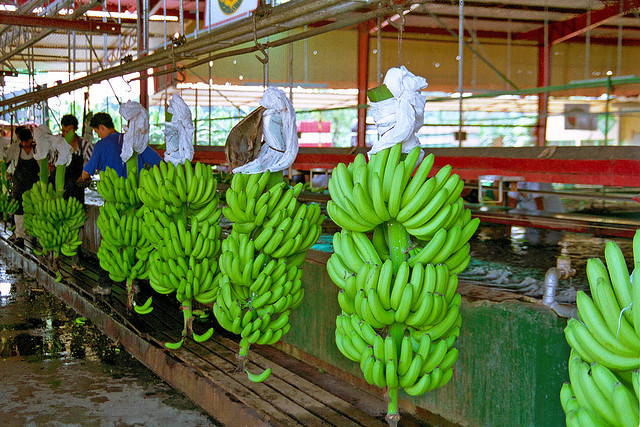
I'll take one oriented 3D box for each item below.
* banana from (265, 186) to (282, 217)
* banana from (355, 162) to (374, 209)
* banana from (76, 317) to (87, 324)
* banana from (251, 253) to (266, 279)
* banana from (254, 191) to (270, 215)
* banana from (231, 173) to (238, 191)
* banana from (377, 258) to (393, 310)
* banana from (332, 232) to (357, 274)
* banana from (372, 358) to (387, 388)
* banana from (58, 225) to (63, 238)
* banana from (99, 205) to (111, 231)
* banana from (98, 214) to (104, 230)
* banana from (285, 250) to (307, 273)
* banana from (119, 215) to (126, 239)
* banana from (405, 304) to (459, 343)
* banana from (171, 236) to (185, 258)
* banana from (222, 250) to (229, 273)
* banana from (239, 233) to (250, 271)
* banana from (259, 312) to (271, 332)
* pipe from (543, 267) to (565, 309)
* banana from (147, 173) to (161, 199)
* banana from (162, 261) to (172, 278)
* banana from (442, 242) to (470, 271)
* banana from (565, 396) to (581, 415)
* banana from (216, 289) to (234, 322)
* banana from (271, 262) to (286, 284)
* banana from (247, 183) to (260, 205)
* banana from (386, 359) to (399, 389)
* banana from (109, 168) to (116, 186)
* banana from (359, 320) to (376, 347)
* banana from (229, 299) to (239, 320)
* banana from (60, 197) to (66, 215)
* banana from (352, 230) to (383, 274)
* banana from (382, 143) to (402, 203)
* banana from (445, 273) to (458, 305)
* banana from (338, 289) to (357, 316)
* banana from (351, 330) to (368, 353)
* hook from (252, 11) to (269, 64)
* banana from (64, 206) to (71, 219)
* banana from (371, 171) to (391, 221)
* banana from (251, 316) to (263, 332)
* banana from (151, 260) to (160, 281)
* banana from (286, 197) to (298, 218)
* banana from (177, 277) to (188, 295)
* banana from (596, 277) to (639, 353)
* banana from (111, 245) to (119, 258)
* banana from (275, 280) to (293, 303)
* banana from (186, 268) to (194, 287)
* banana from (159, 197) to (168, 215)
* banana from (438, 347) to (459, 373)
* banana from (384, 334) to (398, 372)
[{"bbox_3d":[-0.400,-0.112,5.036,0.076,0.324,0.106,24,-6,-11],"label":"banana"},{"bbox_3d":[0.313,-0.245,4.348,0.134,0.414,0.084,-4,-6,-23],"label":"banana"},{"bbox_3d":[-3.017,1.358,7.335,0.111,0.049,0.122,-3,9,-23],"label":"banana"},{"bbox_3d":[-0.541,0.451,5.080,0.083,0.257,0.069,18,13,-36],"label":"banana"},{"bbox_3d":[-0.505,-0.093,5.004,0.071,0.268,0.087,29,2,5],"label":"banana"},{"bbox_3d":[-0.765,-0.267,5.095,0.051,0.157,0.036,8,15,-34],"label":"banana"},{"bbox_3d":[0.452,0.500,4.228,0.083,0.380,0.122,7,3,35],"label":"banana"},{"bbox_3d":[0.170,0.307,4.440,0.123,0.389,0.087,-15,8,19],"label":"banana"},{"bbox_3d":[0.422,1.146,4.195,0.082,0.313,0.162,4,47,10],"label":"banana"},{"bbox_3d":[-3.658,0.247,8.204,0.038,0.145,0.037,1,7,6],"label":"banana"},{"bbox_3d":[-2.410,0.059,6.524,0.055,0.268,0.095,-24,-12,11],"label":"banana"},{"bbox_3d":[-2.498,0.100,6.623,0.037,0.186,0.064,-15,-21,-18],"label":"banana"},{"bbox_3d":[-0.225,0.431,5.260,0.062,0.102,0.297,20,56,38],"label":"banana"},{"bbox_3d":[-2.183,0.150,6.411,0.068,0.244,0.056,0,-11,-19],"label":"banana"},{"bbox_3d":[0.854,0.809,4.431,0.116,0.220,0.608,33,-21,-1],"label":"banana"},{"bbox_3d":[-1.375,0.336,5.671,0.062,0.241,0.082,-27,17,-28],"label":"banana"},{"bbox_3d":[-0.841,0.421,5.148,0.083,0.193,0.045,7,10,37],"label":"banana"},{"bbox_3d":[-0.675,0.340,5.056,0.098,0.302,0.070,10,-3,-13],"label":"banana"},{"bbox_3d":[-0.486,0.957,5.141,0.058,0.210,0.069,36,24,13],"label":"banana"},{"bbox_3d":[1.874,0.597,4.708,0.124,0.237,0.464,4,9,22],"label":"pipe"},{"bbox_3d":[-1.669,-0.274,5.854,0.079,0.319,0.107,-18,-4,1],"label":"banana"},{"bbox_3d":[-1.509,0.542,5.716,0.142,0.136,0.027,9,12,44],"label":"banana"},{"bbox_3d":[0.984,0.311,4.263,0.060,0.229,0.081,45,-14,-12],"label":"banana"},{"bbox_3d":[1.606,1.220,3.712,0.038,0.121,0.067,4,-24,2],"label":"banana"},{"bbox_3d":[-0.875,0.806,5.178,0.073,0.358,0.124,-23,-9,-22],"label":"banana"},{"bbox_3d":[-0.365,0.513,5.093,0.066,0.248,0.083,36,-5,6],"label":"banana"},{"bbox_3d":[-0.574,-0.170,5.062,0.055,0.207,0.069,22,-7,-5],"label":"banana"},{"bbox_3d":[0.509,1.156,4.166,0.066,0.239,0.078,10,22,36],"label":"banana"},{"bbox_3d":[-2.351,-0.420,6.577,0.076,0.129,0.039,-15,-9,25],"label":"banana"},{"bbox_3d":[0.339,0.862,4.264,0.062,0.235,0.076,-21,6,19],"label":"banana"},{"bbox_3d":[-0.763,0.858,5.108,0.058,0.183,0.049,13,7,-20],"label":"banana"},{"bbox_3d":[-3.574,-0.095,8.089,0.040,0.196,0.055,-2,0,-6],"label":"banana"},{"bbox_3d":[0.334,0.257,4.345,0.115,0.397,0.132,-30,-24,-8],"label":"banana"},{"bbox_3d":[0.533,-0.318,4.313,0.125,0.517,0.097,6,-9,34],"label":"banana"},{"bbox_3d":[0.961,0.543,4.285,0.060,0.243,0.079,10,-4,-11],"label":"banana"},{"bbox_3d":[0.195,0.668,4.321,0.069,0.260,0.090,-10,12,47],"label":"banana"},{"bbox_3d":[0.281,0.943,4.338,0.070,0.212,0.062,-11,-29,-48],"label":"banana"},{"bbox_3d":[-0.572,-1.655,5.495,0.131,0.495,0.381,-1,8,-7],"label":"hook"},{"bbox_3d":[-3.546,0.003,8.175,0.031,0.135,0.080,12,-5,29],"label":"banana"},{"bbox_3d":[0.459,-0.135,4.197,0.069,0.383,0.126,-10,-1,36],"label":"banana"},{"bbox_3d":[-0.557,0.987,5.132,0.093,0.141,0.064,-1,8,-9],"label":"banana"},{"bbox_3d":[-1.669,0.585,5.885,0.080,0.250,0.064,-6,-2,-12],"label":"banana"},{"bbox_3d":[-0.246,-0.055,5.080,0.053,0.201,0.067,20,34,-3],"label":"banana"},{"bbox_3d":[-1.337,0.706,5.666,0.070,0.198,0.053,11,21,-49],"label":"banana"},{"bbox_3d":[1.837,0.630,3.576,0.156,0.449,0.092,-18,-14,-37],"label":"banana"},{"bbox_3d":[-2.264,0.431,6.440,0.043,0.145,0.040,-24,-14,6],"label":"banana"},{"bbox_3d":[-0.310,0.697,5.173,0.045,0.176,0.056,19,13,-36],"label":"banana"},{"bbox_3d":[-1.259,0.613,5.600,0.048,0.155,0.049,2,6,-2],"label":"banana"},{"bbox_3d":[-1.560,-0.068,5.816,0.046,0.177,0.059,-8,4,26],"label":"banana"},{"bbox_3d":[0.952,1.086,4.327,0.078,0.267,0.094,27,27,-1],"label":"banana"},{"bbox_3d":[0.504,0.990,4.160,0.088,0.249,0.063,-1,9,-12],"label":"banana"}]
